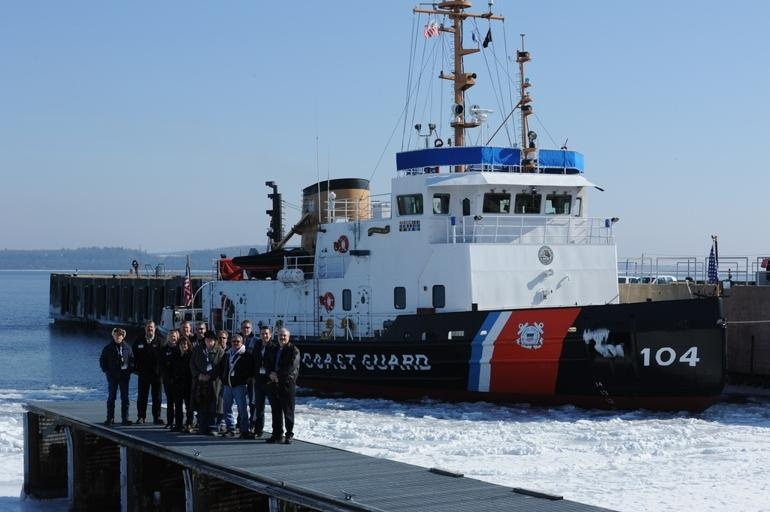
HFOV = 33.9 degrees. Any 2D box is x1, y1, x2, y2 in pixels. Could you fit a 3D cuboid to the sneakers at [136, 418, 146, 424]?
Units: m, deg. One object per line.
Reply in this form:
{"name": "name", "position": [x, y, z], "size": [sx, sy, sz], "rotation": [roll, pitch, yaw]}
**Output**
{"name": "sneakers", "position": [-6.343, 4.239, 32.353], "size": [0.185, 0.172, 0.107], "rotation": [0, -8, 8]}

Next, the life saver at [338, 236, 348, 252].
{"name": "life saver", "position": [-1.344, -0.371, 38.840], "size": [0.105, 0.432, 0.439], "rotation": [3, -4, -44]}

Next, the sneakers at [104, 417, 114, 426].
{"name": "sneakers", "position": [-7.086, 4.196, 31.913], "size": [0.217, 0.136, 0.133], "rotation": [-5, -6, 35]}
